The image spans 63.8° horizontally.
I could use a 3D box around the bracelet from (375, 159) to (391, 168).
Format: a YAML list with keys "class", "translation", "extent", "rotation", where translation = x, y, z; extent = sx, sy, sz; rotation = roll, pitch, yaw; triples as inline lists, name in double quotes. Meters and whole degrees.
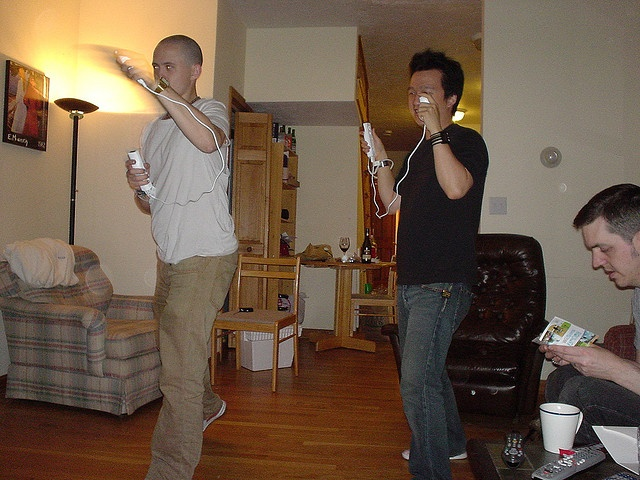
- class: "bracelet"
  translation: [0.318, -0.397, 2.703]
  extent: [0.048, 0.022, 0.064]
  rotation: [-2, 1, -21]

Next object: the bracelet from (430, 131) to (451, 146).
- class: "bracelet"
  translation: [0.498, -0.427, 2.149]
  extent: [0.058, 0.031, 0.061]
  rotation: [-18, 48, -9]

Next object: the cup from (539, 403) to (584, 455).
- class: "cup"
  translation: [0.805, 0.639, 1.750]
  extent: [0.165, 0.139, 0.136]
  rotation: [2, -5, -6]

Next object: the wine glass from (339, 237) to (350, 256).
- class: "wine glass"
  translation: [0.267, 0.063, 5.504]
  extent: [0.080, 0.176, 0.205]
  rotation: [2, 3, 7]

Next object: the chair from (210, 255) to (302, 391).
- class: "chair"
  translation: [-0.481, 0.618, 4.048]
  extent: [0.595, 0.962, 0.649]
  rotation: [2, 2, 19]

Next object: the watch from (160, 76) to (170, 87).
- class: "watch"
  translation: [-0.655, -0.664, 2.176]
  extent: [0.038, 0.041, 0.060]
  rotation: [1, 3, -20]

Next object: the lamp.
- class: "lamp"
  translation: [-1.972, -0.541, 4.197]
  extent: [0.293, 1.142, 0.633]
  rotation: [0, 4, -25]

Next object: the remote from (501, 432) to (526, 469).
- class: "remote"
  translation: [0.640, 0.692, 1.706]
  extent: [0.074, 0.037, 0.173]
  rotation: [-4, 16, 24]

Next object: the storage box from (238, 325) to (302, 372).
- class: "storage box"
  translation: [-0.407, 0.893, 4.286]
  extent: [0.405, 0.293, 0.318]
  rotation: [2, -3, -20]

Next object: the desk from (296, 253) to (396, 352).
- class: "desk"
  translation: [0.224, 0.654, 5.212]
  extent: [0.922, 0.831, 0.934]
  rotation: [3, 1, 28]

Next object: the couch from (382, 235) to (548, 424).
- class: "couch"
  translation: [0.972, 0.540, 3.270]
  extent: [1.030, 1.068, 0.970]
  rotation: [-2, -1, 3]
